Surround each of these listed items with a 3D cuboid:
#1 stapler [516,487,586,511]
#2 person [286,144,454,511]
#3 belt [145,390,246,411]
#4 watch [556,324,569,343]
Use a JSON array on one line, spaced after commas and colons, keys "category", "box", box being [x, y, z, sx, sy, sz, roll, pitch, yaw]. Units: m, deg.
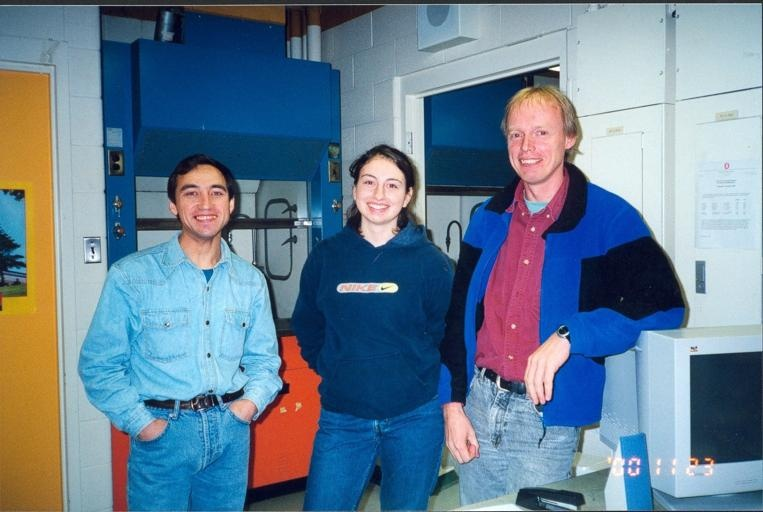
[{"category": "stapler", "box": [0.573, 0.827, 2.025, 0.228, 0.050, 0.077, 0, 3, 15]}, {"category": "person", "box": [-0.030, 0.284, 2.522, 0.666, 1.495, 0.416, -1, 4, -8]}, {"category": "belt", "box": [-0.758, 0.592, 2.424, 0.380, 0.061, 0.070, -1, 3, -15]}, {"category": "watch", "box": [0.648, 0.279, 2.138, 0.045, 0.056, 0.024, 0, 4, 12]}]
